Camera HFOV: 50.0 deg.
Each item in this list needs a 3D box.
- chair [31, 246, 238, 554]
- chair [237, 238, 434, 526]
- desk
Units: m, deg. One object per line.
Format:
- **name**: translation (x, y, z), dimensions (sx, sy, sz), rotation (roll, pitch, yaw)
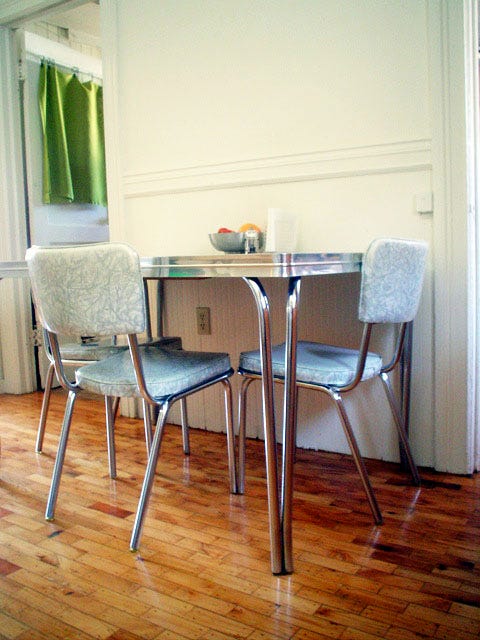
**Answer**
- **chair**: translation (-0.273, 0.158, 1.272), dimensions (0.355, 0.650, 0.408), rotation (3, 5, 29)
- **chair**: translation (0.249, 0.130, 1.430), dimensions (0.459, 0.686, 0.394), rotation (6, 7, 39)
- **desk**: translation (-0.075, 0.211, 1.328), dimensions (0.566, 0.672, 0.547), rotation (-5, -1, 37)
